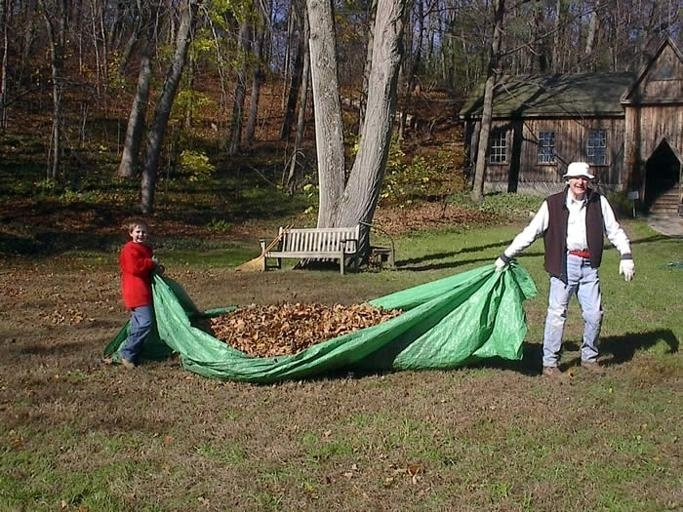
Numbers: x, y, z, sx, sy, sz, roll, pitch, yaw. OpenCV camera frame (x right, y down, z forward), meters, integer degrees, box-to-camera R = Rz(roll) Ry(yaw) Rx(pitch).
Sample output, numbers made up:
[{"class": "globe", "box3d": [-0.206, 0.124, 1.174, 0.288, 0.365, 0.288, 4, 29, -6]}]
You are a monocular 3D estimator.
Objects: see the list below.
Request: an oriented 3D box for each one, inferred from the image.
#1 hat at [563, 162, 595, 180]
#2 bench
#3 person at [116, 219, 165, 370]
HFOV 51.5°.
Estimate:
[{"class": "hat", "box3d": [3.431, -1.220, 10.252, 0.393, 0.234, 0.246, 5, 8, 13]}, {"class": "bench", "box3d": [-0.781, -0.108, 17.132, 2.267, 1.259, 0.904, 1, -1, 29]}, {"class": "person", "box3d": [-3.115, 0.586, 11.074, 0.696, 2.311, 0.753, -2, 3, -23]}]
